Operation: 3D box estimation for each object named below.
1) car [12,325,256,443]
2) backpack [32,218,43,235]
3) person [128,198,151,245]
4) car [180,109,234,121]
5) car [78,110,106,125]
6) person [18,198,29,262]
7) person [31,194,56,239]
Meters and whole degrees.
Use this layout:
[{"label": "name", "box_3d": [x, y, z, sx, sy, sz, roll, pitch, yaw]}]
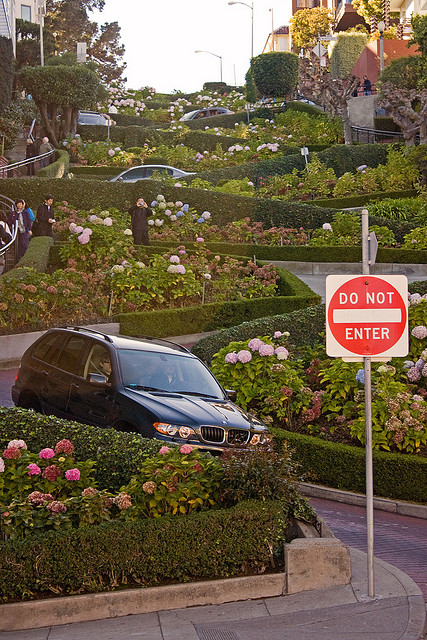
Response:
[{"label": "car", "box_3d": [-0.907, 0.758, 7.490, 2.509, 0.838, 1.198, 7, -2, 40]}, {"label": "backpack", "box_3d": [-4.978, -2.633, 18.747, 0.376, 0.439, 0.450, 3, 35, -6]}, {"label": "person", "box_3d": [-2.151, -2.856, 19.522, 0.622, 1.308, 0.778, -2, 8, -7]}, {"label": "car", "box_3d": [-0.636, -15.638, 50.616, 3.199, 0.736, 2.011, -7, 23, -14]}, {"label": "car", "box_3d": [-7.551, -12.479, 41.086, 1.751, 0.830, 0.993, -5, 19, -11]}, {"label": "person", "box_3d": [-4.958, -2.347, 17.235, 0.301, 1.491, 0.642, -3, 9, -16]}, {"label": "person", "box_3d": [-4.788, -2.918, 18.674, 0.672, 1.185, 1.398, -3, 8, -15]}]
